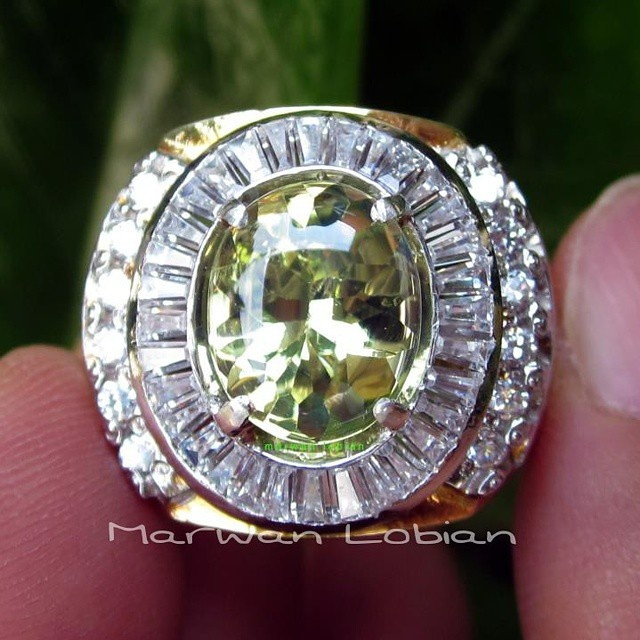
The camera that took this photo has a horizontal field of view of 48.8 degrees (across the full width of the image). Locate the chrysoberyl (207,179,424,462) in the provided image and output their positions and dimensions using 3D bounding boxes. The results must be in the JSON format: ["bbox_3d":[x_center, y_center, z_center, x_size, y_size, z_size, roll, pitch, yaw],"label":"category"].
[{"bbox_3d":[-0.001,-0.014,0.758,0.236,0.175,0.282,-1,99,-4],"label":"chrysoberyl"}]

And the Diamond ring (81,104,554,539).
[{"bbox_3d":[-0.006,0.018,0.800,0.358,0.181,0.591,3,91,5],"label":"Diamond ring"}]
